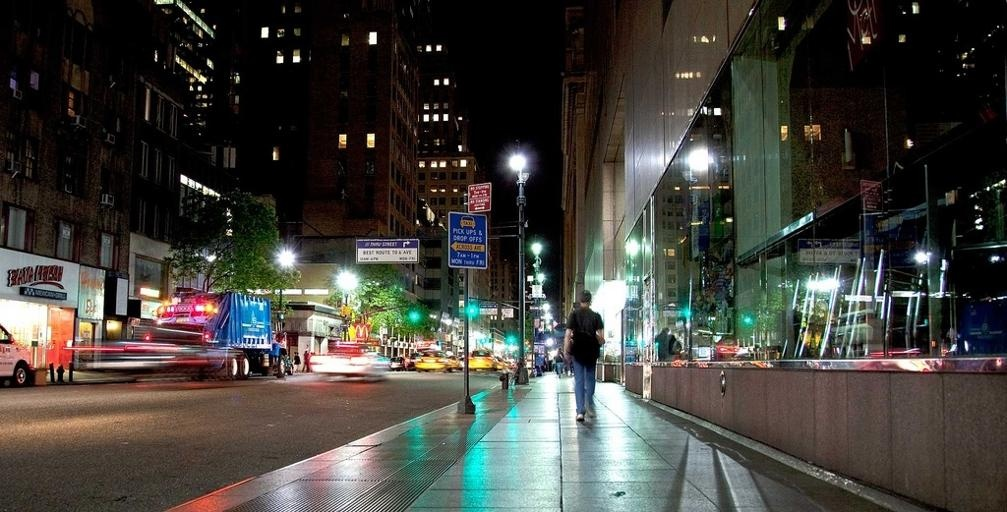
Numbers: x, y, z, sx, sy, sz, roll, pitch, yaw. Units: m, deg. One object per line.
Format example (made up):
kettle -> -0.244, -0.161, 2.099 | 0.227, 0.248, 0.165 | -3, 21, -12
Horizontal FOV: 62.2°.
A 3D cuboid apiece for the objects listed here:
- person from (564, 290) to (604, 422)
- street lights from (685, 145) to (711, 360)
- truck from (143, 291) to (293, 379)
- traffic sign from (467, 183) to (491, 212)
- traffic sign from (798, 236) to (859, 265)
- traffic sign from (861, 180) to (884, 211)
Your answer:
person -> 2.166, 2.695, 21.991 | 1.159, 3.233, 1.464 | -1, -1, 4
street lights -> 5.405, -0.378, 22.693 | 1.025, 4.465, 0.888 | 0, 0, 1
truck -> -14.957, 4.511, 47.412 | 3.978, 3.569, 12.807 | -7, -5, 15
traffic sign -> -0.749, -1.809, 26.116 | 0.789, 0.897, 1.946 | -6, -4, -2
traffic sign -> 6.554, -0.078, 16.700 | 0.157, 0.583, 1.683 | -5, -4, -18
traffic sign -> 6.978, -1.133, 15.704 | 0.090, 0.653, 0.471 | -6, -3, -16
